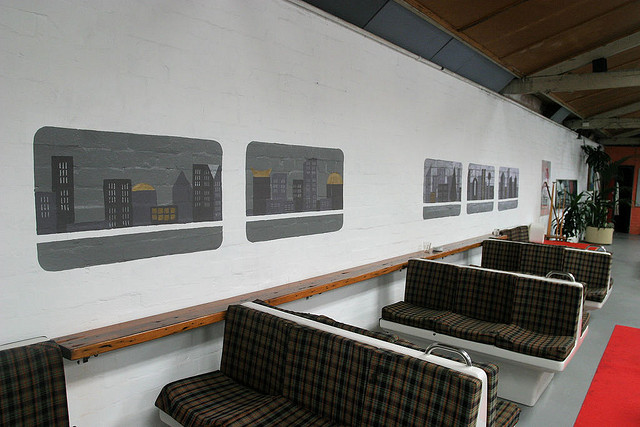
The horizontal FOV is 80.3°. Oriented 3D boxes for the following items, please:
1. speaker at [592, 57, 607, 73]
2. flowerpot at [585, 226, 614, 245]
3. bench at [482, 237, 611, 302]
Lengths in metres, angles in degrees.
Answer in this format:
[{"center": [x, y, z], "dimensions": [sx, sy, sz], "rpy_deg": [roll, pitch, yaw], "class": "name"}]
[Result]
[{"center": [4.532, -2.409, 6.218], "dimensions": [0.179, 0.226, 0.151], "rpy_deg": [2, 6, 36], "class": "speaker"}, {"center": [8.140, 0.588, 11.143], "dimensions": [0.584, 0.413, 0.566], "rpy_deg": [0, 3, -33], "class": "flowerpot"}, {"center": [3.160, 0.674, 5.294], "dimensions": [1.903, 0.670, 0.689], "rpy_deg": [7, 9, 26], "class": "bench"}]
